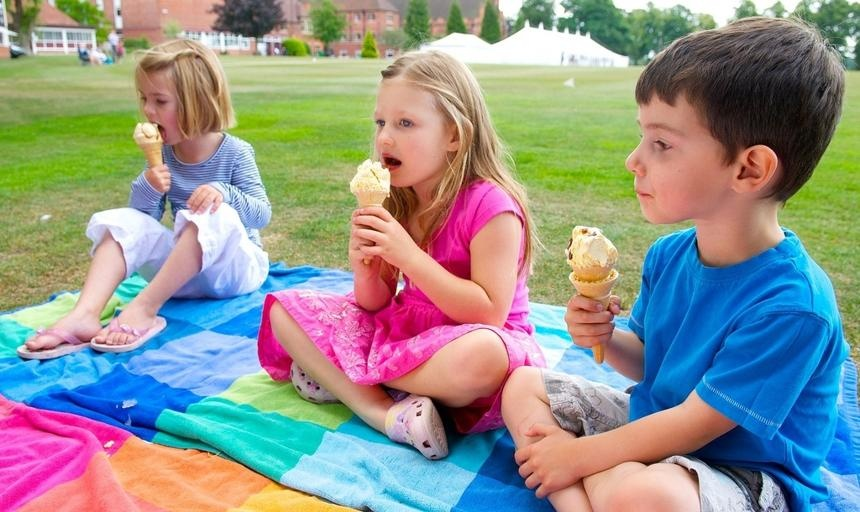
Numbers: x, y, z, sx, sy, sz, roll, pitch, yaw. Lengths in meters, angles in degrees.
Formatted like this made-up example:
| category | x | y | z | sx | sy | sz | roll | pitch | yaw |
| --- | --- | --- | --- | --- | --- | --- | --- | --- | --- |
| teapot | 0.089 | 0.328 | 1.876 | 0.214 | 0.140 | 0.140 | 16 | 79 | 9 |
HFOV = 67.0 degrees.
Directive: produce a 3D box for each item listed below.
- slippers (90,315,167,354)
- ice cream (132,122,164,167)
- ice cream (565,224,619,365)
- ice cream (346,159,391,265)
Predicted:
| category | x | y | z | sx | sy | sz | roll | pitch | yaw |
| --- | --- | --- | --- | --- | --- | --- | --- | --- | --- |
| slippers | -1.980 | 0.503 | 4.334 | 0.218 | 0.169 | 0.457 | 15 | 21 | 37 |
| ice cream | -1.971 | -0.784 | 4.566 | 0.184 | 0.305 | 0.240 | -1 | 18 | -7 |
| ice cream | 0.826 | 0.187 | 3.312 | 0.220 | 0.706 | 0.232 | 0 | 0 | 4 |
| ice cream | -0.336 | -0.358 | 3.667 | 0.254 | 0.346 | 0.252 | -3 | 7 | -36 |
